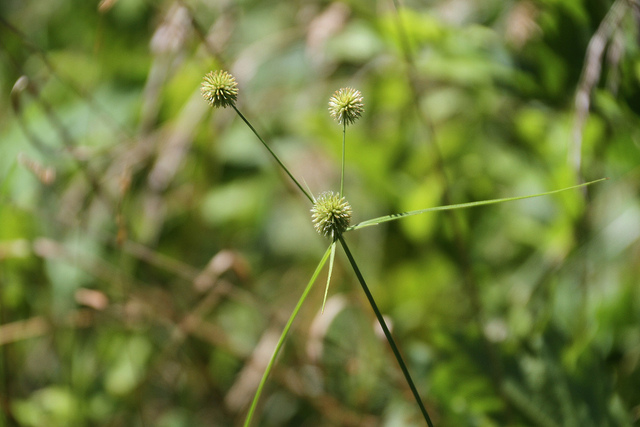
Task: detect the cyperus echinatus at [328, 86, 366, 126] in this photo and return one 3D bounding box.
[{"bbox_3d":[0.053,-0.215,1.411,0.049,0.056,0.062,-3,92,-15],"label":"cyperus echinatus"}]

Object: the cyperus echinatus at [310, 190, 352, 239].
[{"bbox_3d":[0.021,0.009,1.430,0.075,0.098,0.088,5,42,15],"label":"cyperus echinatus"}]

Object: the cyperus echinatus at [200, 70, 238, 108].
[{"bbox_3d":[-0.195,-0.243,1.417,0.061,0.058,0.080,-8,76,20],"label":"cyperus echinatus"}]
